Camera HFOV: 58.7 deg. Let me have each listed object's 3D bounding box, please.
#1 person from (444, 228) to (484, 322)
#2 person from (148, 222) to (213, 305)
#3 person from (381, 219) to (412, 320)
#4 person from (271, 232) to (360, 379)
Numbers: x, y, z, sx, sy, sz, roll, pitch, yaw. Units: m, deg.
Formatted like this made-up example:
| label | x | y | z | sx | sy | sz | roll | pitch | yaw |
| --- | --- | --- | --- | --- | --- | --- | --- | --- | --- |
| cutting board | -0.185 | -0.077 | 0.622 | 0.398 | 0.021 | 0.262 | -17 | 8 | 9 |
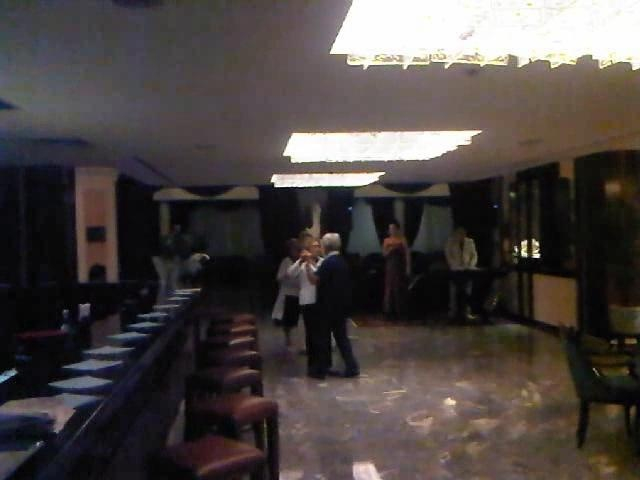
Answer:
| label | x | y | z | sx | sy | sz | roll | pitch | yaw |
| --- | --- | --- | --- | --- | --- | --- | --- | --- | --- |
| person | 2.312 | 0.577 | 9.296 | 0.488 | 1.504 | 0.417 | 1 | 5 | 19 |
| person | -1.555 | 0.237 | 6.182 | 0.478 | 0.718 | 1.129 | -1 | 5 | -12 |
| person | 1.246 | 0.526 | 9.305 | 0.441 | 1.570 | 1.447 | 0 | 5 | 9 |
| person | 0.042 | 0.712 | 6.155 | 0.526 | 1.573 | 0.751 | -4 | 6 | -38 |
